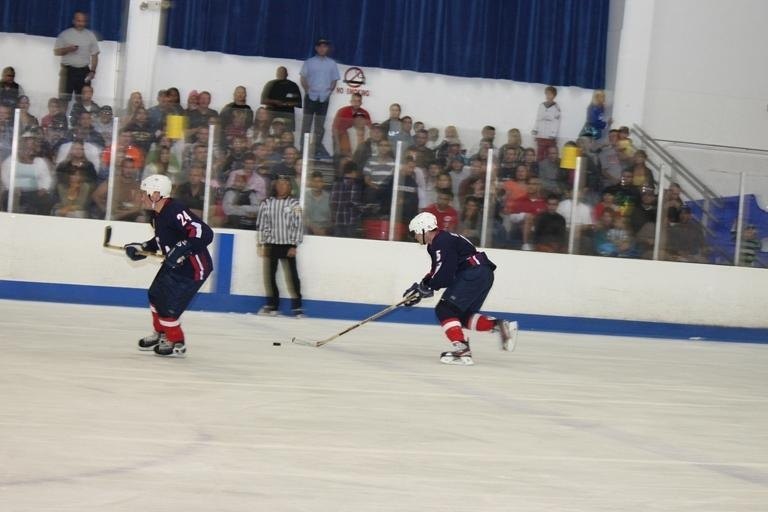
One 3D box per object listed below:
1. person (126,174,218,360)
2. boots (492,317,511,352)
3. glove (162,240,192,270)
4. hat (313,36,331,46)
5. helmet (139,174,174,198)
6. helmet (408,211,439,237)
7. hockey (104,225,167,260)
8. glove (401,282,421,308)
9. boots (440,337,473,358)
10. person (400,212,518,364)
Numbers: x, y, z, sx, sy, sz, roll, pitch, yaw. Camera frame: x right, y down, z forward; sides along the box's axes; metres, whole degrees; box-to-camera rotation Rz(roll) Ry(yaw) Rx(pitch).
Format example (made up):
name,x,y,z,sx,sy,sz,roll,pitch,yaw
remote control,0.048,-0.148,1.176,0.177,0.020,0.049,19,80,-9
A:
name,x,y,z,sx,sy,sz,roll,pitch,yaw
person,-2.655,0.111,19.415,0.938,2.245,0.453,5,5,-1
boots,1.588,0.990,20.201,0.196,0.445,0.160,-14,7,1
glove,-2.570,-0.026,19.299,0.259,0.356,0.140,37,-7,17
hat,-1.006,-3.553,25.293,0.233,0.157,0.246,0,5,4
helmet,-2.877,-0.916,19.559,0.411,0.298,0.280,-8,16,-3
helmet,0.530,-0.467,20.208,0.368,0.257,0.252,-17,15,11
hockey,-3.240,-0.182,19.854,0.793,0.225,0.110,12,-1,5
glove,0.446,0.500,20.310,0.132,0.280,0.272,18,42,-30
boots,0.972,1.195,20.146,0.429,0.337,0.297,4,5,2
person,1.027,0.415,20.138,1.390,1.902,0.483,4,5,-13
